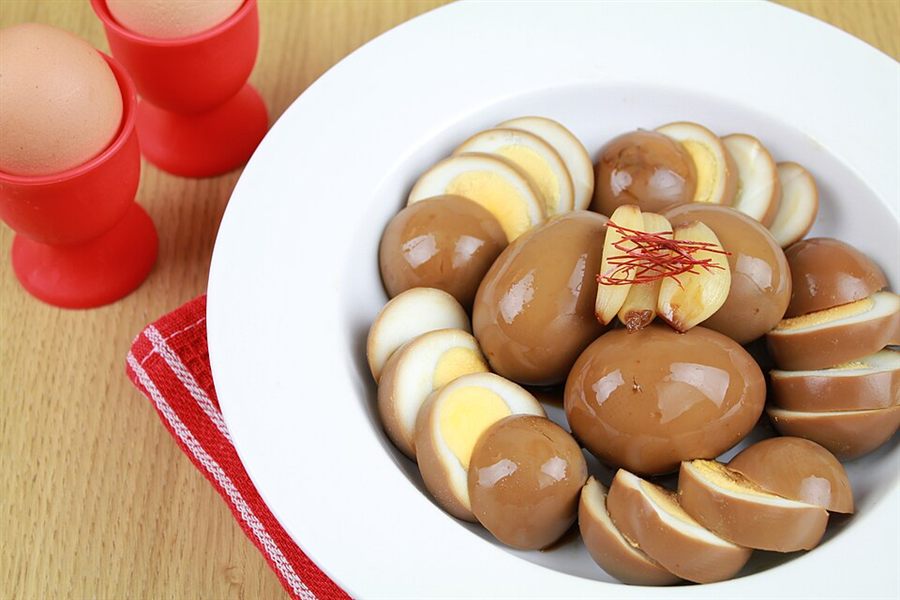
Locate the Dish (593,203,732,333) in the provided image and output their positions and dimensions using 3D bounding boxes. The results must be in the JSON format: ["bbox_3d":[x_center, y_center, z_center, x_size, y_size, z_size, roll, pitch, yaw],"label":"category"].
[{"bbox_3d":[0.291,-0.038,1.165,0.176,0.060,0.169,11,62,5],"label":"Dish"}]
